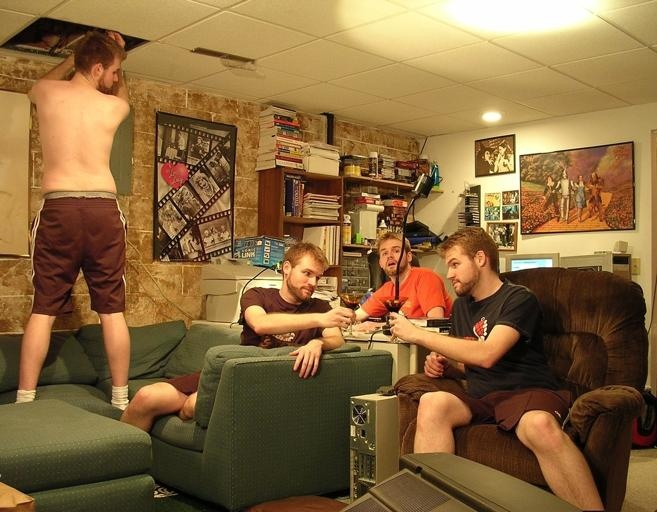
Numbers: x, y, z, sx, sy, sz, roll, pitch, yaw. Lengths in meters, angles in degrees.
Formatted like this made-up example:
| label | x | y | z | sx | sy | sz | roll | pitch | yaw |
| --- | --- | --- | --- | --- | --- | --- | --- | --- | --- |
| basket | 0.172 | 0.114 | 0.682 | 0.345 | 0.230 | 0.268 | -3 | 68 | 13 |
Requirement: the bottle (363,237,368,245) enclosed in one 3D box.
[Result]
| label | x | y | z | sx | sy | sz | roll | pitch | yaw |
| --- | --- | --- | --- | --- | --- | --- | --- | --- | --- |
| bottle | 0.405 | -0.145 | 5.787 | 0.056 | 0.062 | 0.059 | 2 | -2 | 27 |

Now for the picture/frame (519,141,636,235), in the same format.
| label | x | y | z | sx | sy | sz | roll | pitch | yaw |
| --- | --- | --- | --- | --- | --- | --- | --- | --- | --- |
| picture/frame | 2.580 | -0.678 | 5.507 | 1.027 | 0.762 | 0.046 | -2 | -5 | 38 |

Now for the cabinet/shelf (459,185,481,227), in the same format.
| label | x | y | z | sx | sy | sz | roll | pitch | yaw |
| --- | --- | --- | --- | --- | --- | --- | --- | --- | --- |
| cabinet/shelf | 1.628 | -0.567 | 6.201 | 0.258 | 0.470 | 0.224 | 4 | 4 | 17 |

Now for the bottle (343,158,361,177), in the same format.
| label | x | y | z | sx | sy | sz | roll | pitch | yaw |
| --- | --- | --- | --- | --- | --- | --- | --- | --- | --- |
| bottle | 0.265 | -0.919 | 5.792 | 0.205 | 0.188 | 0.179 | 0 | -4 | 9 |

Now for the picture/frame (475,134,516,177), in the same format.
| label | x | y | z | sx | sy | sz | roll | pitch | yaw |
| --- | --- | --- | --- | --- | --- | --- | --- | --- | --- |
| picture/frame | 1.901 | -1.116 | 6.095 | 0.533 | 0.484 | 0.057 | 1 | 2 | 42 |
